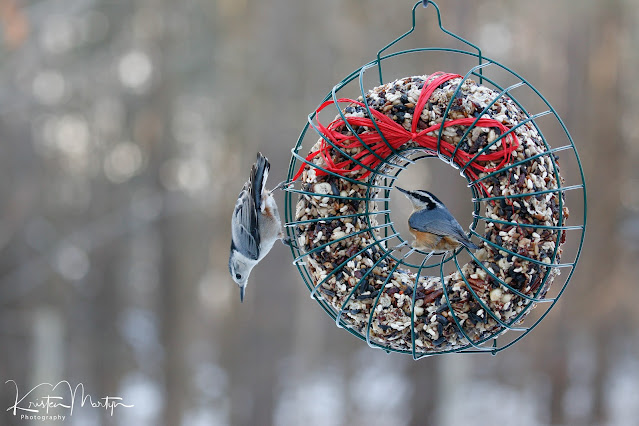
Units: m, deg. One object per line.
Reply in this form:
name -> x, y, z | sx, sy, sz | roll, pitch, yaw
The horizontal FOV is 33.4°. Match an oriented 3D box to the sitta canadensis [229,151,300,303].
sitta canadensis -> -0.471, 0.023, 7.757 | 0.472, 0.324, 1.074 | -9, -66, 11
